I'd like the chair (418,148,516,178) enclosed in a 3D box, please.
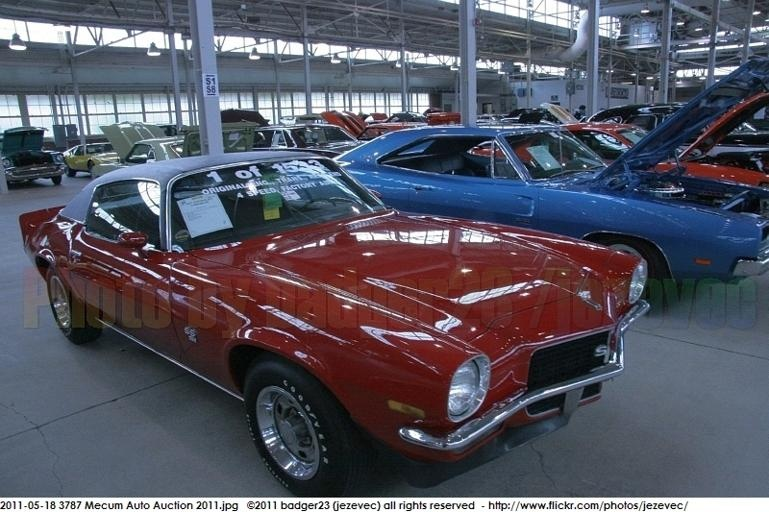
[{"bbox_3d":[1.163,-1.141,5.324,0.875,0.246,0.521,5,25,27],"label":"chair"}]

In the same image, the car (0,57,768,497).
[{"bbox_3d":[-0.692,0.081,3.001,4.466,1.042,2.305,14,26,33],"label":"car"}]
